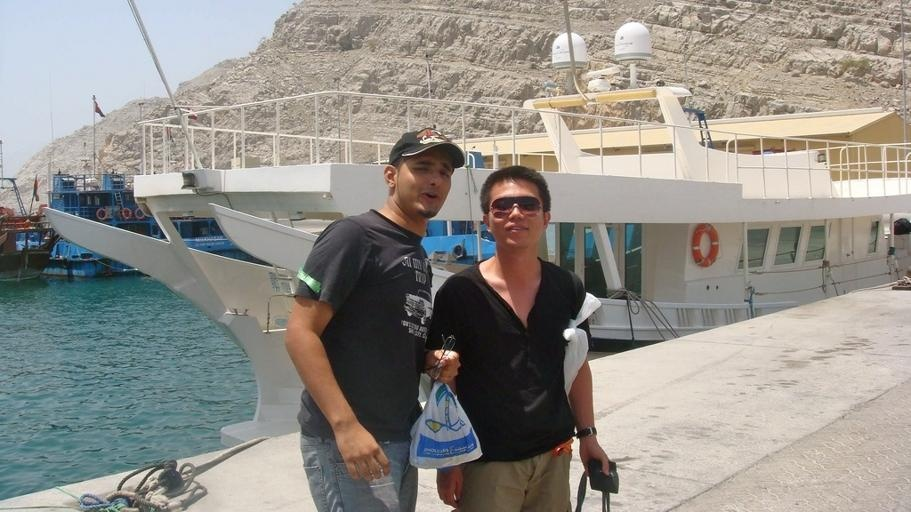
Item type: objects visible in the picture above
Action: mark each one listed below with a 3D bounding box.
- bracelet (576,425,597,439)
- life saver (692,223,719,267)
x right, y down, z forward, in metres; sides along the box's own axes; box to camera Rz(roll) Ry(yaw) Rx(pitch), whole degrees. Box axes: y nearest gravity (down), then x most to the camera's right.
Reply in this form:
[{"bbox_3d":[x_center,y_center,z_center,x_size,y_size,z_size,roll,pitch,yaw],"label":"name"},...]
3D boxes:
[{"bbox_3d":[2.175,2.917,13.605,0.239,0.085,0.231,-13,-13,-16],"label":"bracelet"},{"bbox_3d":[6.628,-0.274,21.864,0.819,1.179,0.142,-11,12,-22],"label":"life saver"}]
